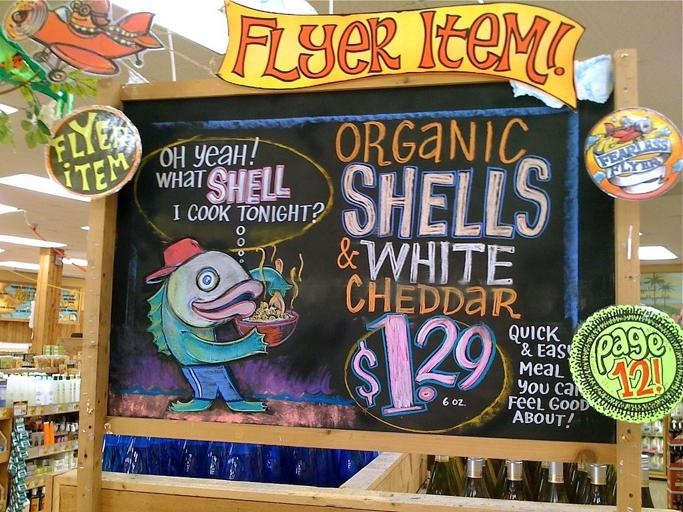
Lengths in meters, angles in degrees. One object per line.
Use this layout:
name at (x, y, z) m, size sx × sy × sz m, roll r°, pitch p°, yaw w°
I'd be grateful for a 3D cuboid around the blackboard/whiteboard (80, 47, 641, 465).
blackboard/whiteboard at (0.123, 0.008, 2.836) m, size 1.617 × 1.242 × 0.079 m, roll 0°, pitch -6°, yaw 8°

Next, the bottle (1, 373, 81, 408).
bottle at (-2.570, 1.138, 6.300) m, size 0.228 × 0.258 × 1.065 m, roll -2°, pitch -11°, yaw 13°
